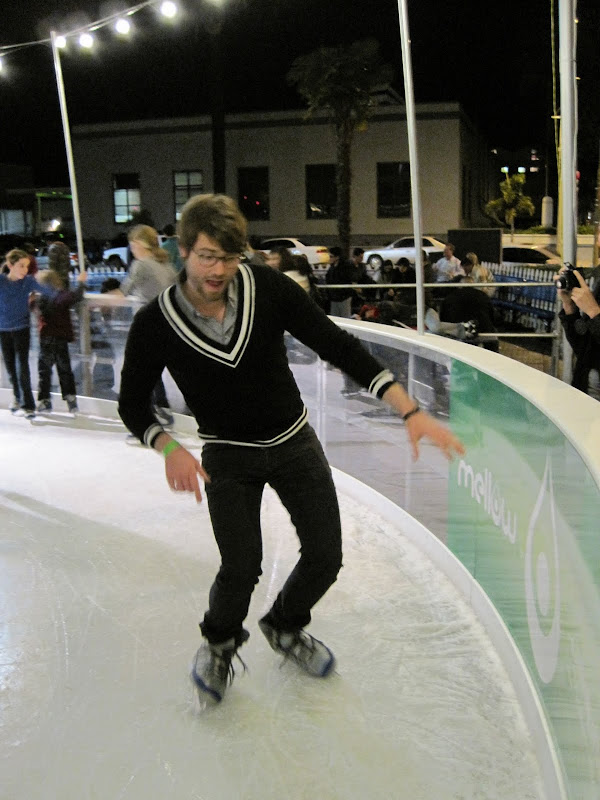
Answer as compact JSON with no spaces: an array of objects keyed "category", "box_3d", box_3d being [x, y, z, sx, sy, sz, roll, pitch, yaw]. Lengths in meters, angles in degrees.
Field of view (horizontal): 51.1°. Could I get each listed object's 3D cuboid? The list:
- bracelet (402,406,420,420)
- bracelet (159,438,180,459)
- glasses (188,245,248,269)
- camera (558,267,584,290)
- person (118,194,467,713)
[{"category":"bracelet","box_3d":[0.288,0.030,1.631,0.037,0.011,0.039,-33,11,-14]},{"category":"bracelet","box_3d":[-0.355,0.124,1.752,0.054,0.041,0.054,-25,25,-37]},{"category":"glasses","box_3d":[-0.210,-0.359,1.599,0.120,0.042,0.088,-2,6,-27]},{"category":"camera","box_3d":[1.210,-0.539,2.826,0.109,0.116,0.115,0,4,42]},{"category":"person","box_3d":[-0.116,0.285,1.783,0.810,1.343,0.550,0,5,-8]}]
